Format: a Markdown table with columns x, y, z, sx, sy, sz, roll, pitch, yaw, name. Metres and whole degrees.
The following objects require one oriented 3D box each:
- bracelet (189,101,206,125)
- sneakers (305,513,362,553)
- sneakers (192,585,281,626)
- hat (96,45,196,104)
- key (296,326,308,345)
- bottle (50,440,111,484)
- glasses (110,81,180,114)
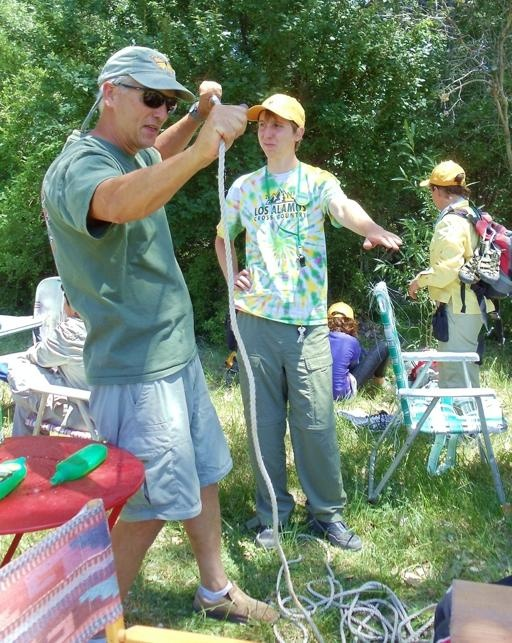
| x | y | z | sx | sy | sz | roll | pitch | yaw | name |
| --- | --- | --- | --- | --- | --- | --- | --- | --- | --- |
| -0.244 | -0.818 | 2.471 | 0.076 | 0.071 | 0.055 | -8 | -11 | -38 | bracelet |
| 0.369 | 1.000 | 3.013 | 0.256 | 0.087 | 0.095 | 11 | 14 | 38 | sneakers |
| -0.080 | 1.076 | 2.439 | 0.370 | 0.129 | 0.120 | 5 | -2 | -1 | sneakers |
| -0.343 | -0.747 | 1.940 | 0.264 | 0.116 | 0.172 | 12 | 15 | 7 | hat |
| 0.200 | 0.058 | 2.811 | 0.042 | 0.075 | 0.017 | 0 | 6 | 2 | key |
| -0.486 | 0.394 | 1.732 | 0.095 | 0.043 | 0.191 | 13 | 28 | 33 | bottle |
| -0.327 | -0.682 | 1.928 | 0.105 | 0.029 | 0.100 | 21 | 10 | 19 | glasses |
